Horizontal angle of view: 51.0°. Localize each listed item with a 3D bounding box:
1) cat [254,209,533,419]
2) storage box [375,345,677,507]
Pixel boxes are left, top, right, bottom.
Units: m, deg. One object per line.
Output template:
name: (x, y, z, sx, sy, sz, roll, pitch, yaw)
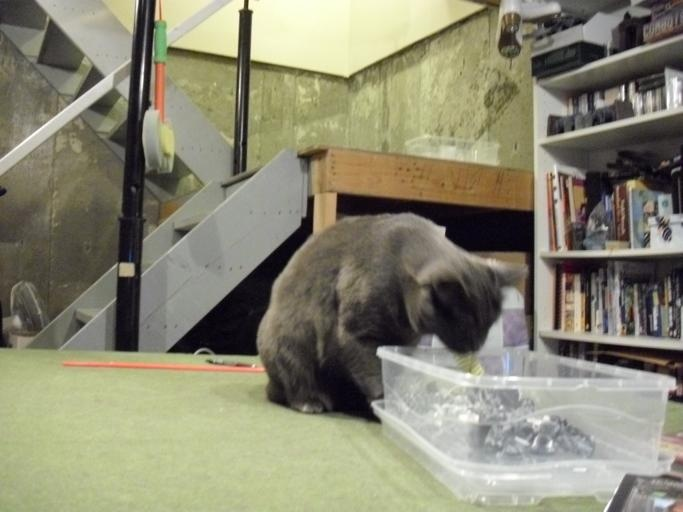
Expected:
cat: (0.111, 0.116, 1.529, 0.305, 0.387, 0.540, -8, -1, -45)
storage box: (0.347, 0.237, 1.322, 0.313, 0.167, 0.399, -1, 5, -23)
